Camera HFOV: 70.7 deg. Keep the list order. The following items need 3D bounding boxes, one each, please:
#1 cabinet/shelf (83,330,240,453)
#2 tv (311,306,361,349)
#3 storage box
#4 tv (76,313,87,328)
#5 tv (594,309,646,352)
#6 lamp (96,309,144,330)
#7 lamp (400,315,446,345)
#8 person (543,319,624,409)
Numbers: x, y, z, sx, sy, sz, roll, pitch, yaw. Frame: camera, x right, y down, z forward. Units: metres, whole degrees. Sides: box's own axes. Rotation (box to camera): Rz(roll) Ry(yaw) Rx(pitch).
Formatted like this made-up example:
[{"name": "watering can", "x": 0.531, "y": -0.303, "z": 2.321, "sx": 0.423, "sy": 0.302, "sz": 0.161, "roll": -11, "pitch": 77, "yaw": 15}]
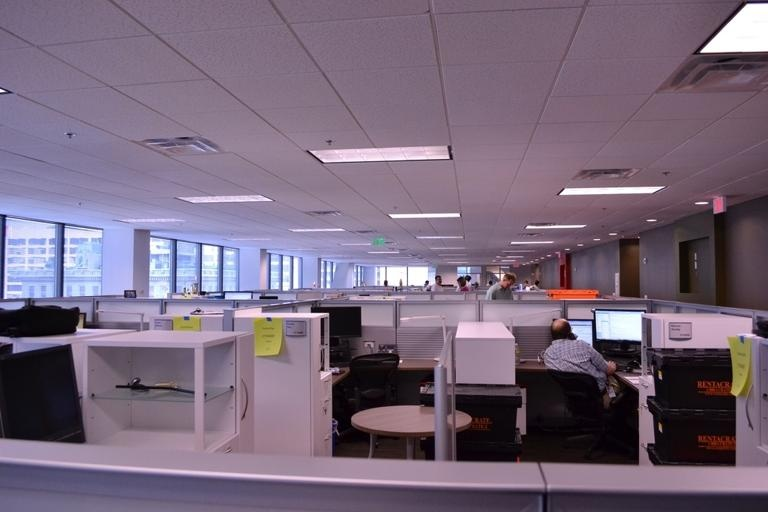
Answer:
[{"name": "cabinet/shelf", "x": -1.223, "y": 0.762, "z": 3.095, "sx": 0.797, "sy": 0.653, "sz": 0.419, "roll": -1, "pitch": -4, "yaw": 12}, {"name": "tv", "x": -0.462, "y": 0.675, "z": 5.209, "sx": 0.622, "sy": 0.429, "sz": 0.174, "roll": 1, "pitch": -17, "yaw": -7}, {"name": "storage box", "x": 1.975, "y": 0.983, "z": 3.498, "sx": 0.495, "sy": 0.769, "sz": 0.345, "roll": -2, "pitch": -4, "yaw": 23}, {"name": "tv", "x": -3.329, "y": 0.709, "z": 5.991, "sx": 0.059, "sy": 0.152, "sz": 0.946, "roll": 2, "pitch": -4, "yaw": -28}, {"name": "tv", "x": 2.326, "y": 0.720, "z": 5.371, "sx": 0.611, "sy": 0.446, "sz": 0.221, "roll": 0, "pitch": -4, "yaw": 21}, {"name": "lamp", "x": -3.058, "y": 0.735, "z": 6.358, "sx": 0.831, "sy": 0.219, "sz": 0.137, "roll": -2, "pitch": -4, "yaw": 29}, {"name": "lamp", "x": 0.396, "y": 0.740, "z": 5.545, "sx": 0.478, "sy": 0.275, "sz": 0.288, "roll": 0, "pitch": -4, "yaw": 4}, {"name": "person", "x": 1.869, "y": 1.017, "z": 5.122, "sx": 0.570, "sy": 1.011, "sz": 0.623, "roll": -18, "pitch": 11, "yaw": 26}]
